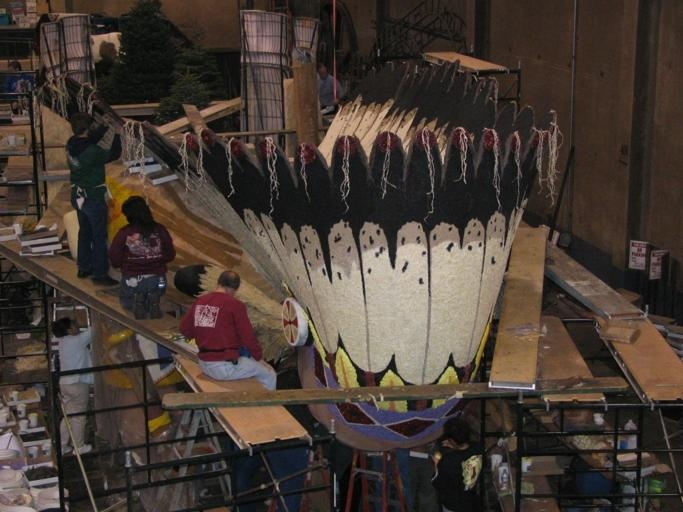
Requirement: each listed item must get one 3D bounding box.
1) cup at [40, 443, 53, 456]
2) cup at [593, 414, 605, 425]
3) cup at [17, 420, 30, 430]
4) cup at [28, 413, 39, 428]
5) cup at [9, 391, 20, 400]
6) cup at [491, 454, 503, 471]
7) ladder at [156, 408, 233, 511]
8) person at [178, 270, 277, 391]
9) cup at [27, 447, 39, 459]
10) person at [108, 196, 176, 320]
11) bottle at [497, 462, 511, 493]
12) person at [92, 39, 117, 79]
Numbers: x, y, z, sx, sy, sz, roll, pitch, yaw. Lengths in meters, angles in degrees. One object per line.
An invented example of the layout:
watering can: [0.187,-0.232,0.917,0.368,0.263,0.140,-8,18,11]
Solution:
cup: [-4.533,2.959,15.132,0.151,0.177,0.190,1,-3,1]
cup: [3.765,2.363,14.356,0.148,0.205,0.256,1,14,13]
cup: [-5.034,2.664,15.577,0.175,0.171,0.114,1,10,-17]
cup: [-4.935,2.607,15.760,0.159,0.197,0.342,-6,14,-16]
cup: [-5.418,2.297,16.290,0.120,0.126,0.126,1,0,0]
cup: [2.150,2.857,13.730,0.167,0.296,0.182,1,4,0]
ladder: [-2.060,2.805,13.857,0.917,1.630,2.296,-4,14,-11]
person: [-1.392,1.184,12.768,1.311,1.984,0.856,-6,17,-35]
cup: [-4.725,2.990,15.046,0.143,0.133,0.170,-5,14,-14]
person: [-2.685,0.011,13.268,0.859,1.663,0.319,-5,14,-15]
bottle: [2.241,3.032,13.475,0.163,0.399,0.221,-3,14,-4]
person: [-5.813,-4.851,24.328,0.502,1.203,0.470,6,-31,-12]
